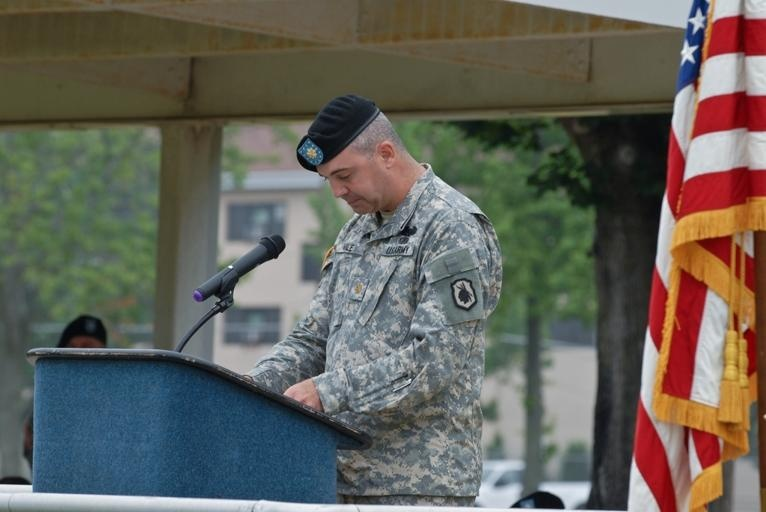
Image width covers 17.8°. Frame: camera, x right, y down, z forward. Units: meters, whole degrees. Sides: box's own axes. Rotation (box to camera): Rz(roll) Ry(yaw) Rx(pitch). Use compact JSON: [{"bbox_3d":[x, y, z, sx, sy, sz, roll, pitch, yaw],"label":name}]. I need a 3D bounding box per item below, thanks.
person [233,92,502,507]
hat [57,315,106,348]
[{"bbox_3d":[0.054,0.263,14.644,1.260,2.546,0.550,4,-9,1],"label":"person"},{"bbox_3d":[-2.134,0.583,17.603,0.256,0.369,0.277,15,-10,-13],"label":"hat"}]
